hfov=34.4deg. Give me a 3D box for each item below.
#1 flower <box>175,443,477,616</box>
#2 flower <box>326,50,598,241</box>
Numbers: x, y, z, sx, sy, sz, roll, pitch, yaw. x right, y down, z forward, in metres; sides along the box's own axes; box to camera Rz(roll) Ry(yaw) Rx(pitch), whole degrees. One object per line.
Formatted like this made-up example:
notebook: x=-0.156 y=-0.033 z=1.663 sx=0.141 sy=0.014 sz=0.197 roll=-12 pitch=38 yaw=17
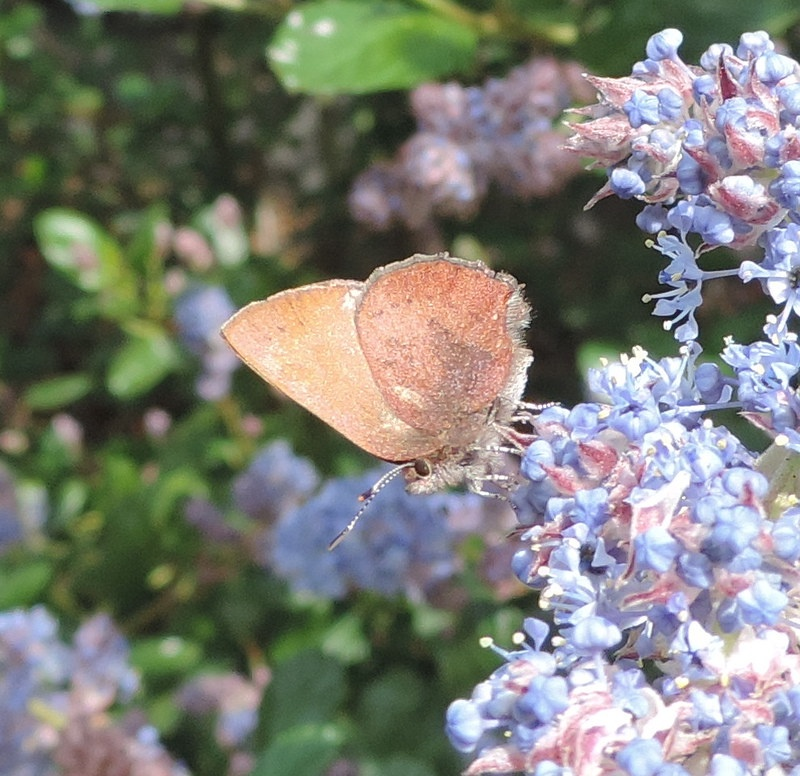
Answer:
flower: x=-0.130 y=0.288 z=2.605 sx=0.484 sy=0.182 sz=0.308 roll=4 pitch=71 yaw=7
flower: x=0.157 y=-0.513 z=2.714 sx=0.507 sy=0.183 sz=0.426 roll=22 pitch=49 yaw=24
